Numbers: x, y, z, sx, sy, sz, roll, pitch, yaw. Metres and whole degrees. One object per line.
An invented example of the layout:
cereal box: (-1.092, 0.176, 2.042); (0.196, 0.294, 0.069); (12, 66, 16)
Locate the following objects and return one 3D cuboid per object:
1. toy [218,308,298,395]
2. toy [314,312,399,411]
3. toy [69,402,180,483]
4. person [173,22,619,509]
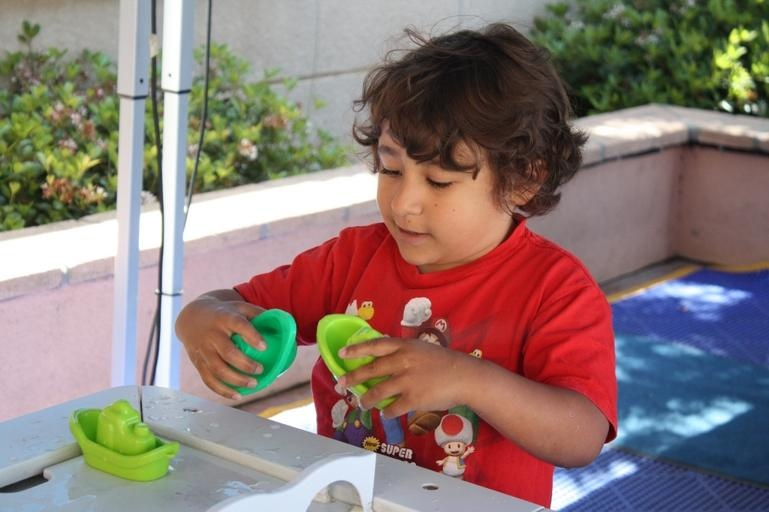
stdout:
toy: (-0.239, 0.181, 1.222); (0.105, 0.164, 0.160); (-10, 16, -38)
toy: (-0.056, 0.192, 1.145); (0.130, 0.167, 0.085); (10, 16, 39)
toy: (-0.428, 0.297, 1.076); (0.188, 0.104, 0.106); (14, 10, 22)
person: (0.080, 0.014, 1.395); (0.824, 1.032, 0.713); (4, 13, 20)
